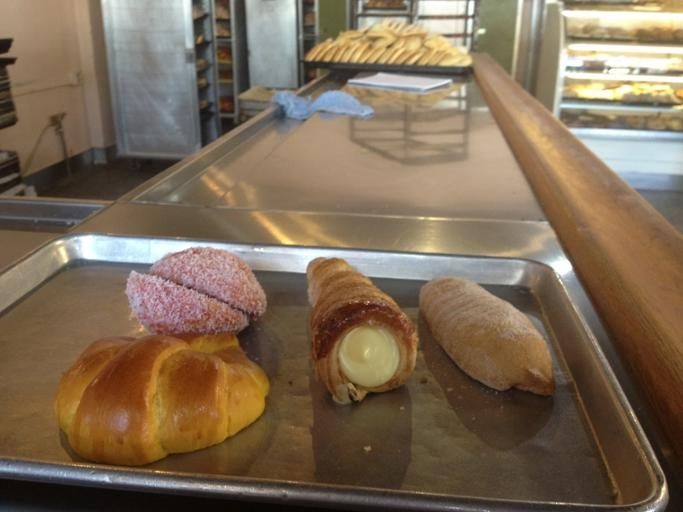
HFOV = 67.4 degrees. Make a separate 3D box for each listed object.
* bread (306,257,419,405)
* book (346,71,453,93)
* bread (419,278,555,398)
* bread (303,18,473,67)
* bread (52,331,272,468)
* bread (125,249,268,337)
[{"bbox_3d":[0.006,0.062,0.667,0.120,0.114,0.252,-5,28,-15],"label":"bread"},{"bbox_3d":[0.252,-0.753,2.202,0.397,0.054,0.311,14,30,32],"label":"book"},{"bbox_3d":[0.172,0.084,0.610,0.078,0.050,0.161,-7,18,-20],"label":"bread"},{"bbox_3d":[0.223,-1.080,2.641,0.799,0.192,0.616,-3,25,1],"label":"bread"},{"bbox_3d":[-0.201,0.131,0.579,0.199,0.079,0.223,-2,18,-15],"label":"bread"},{"bbox_3d":[-0.191,0.065,0.698,0.169,0.119,0.199,3,-13,21],"label":"bread"}]
